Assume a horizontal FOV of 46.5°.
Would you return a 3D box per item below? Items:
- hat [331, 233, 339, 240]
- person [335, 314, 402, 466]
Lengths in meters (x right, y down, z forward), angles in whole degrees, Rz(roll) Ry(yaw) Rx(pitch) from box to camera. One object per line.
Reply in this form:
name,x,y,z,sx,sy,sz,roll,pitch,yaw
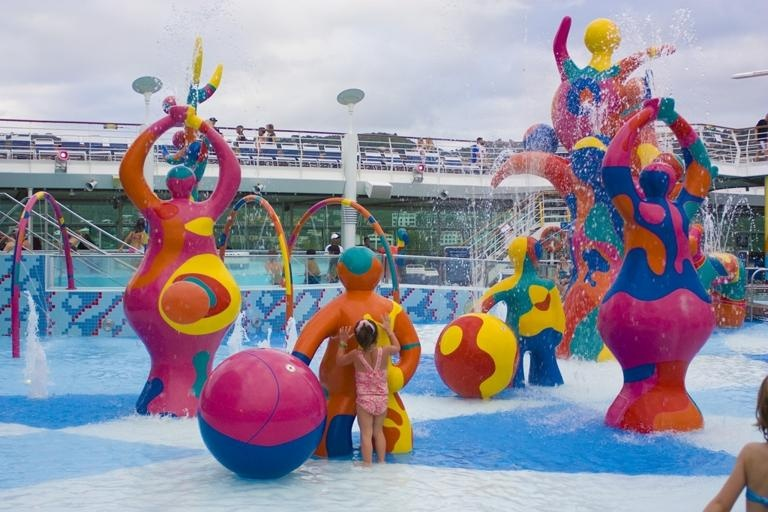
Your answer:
hat,-1.115,-0.464,19.943,0.162,0.118,0.262,-1,-2,1
person,-0.152,1.235,8.483,0.587,1.311,0.558,0,7,-3
